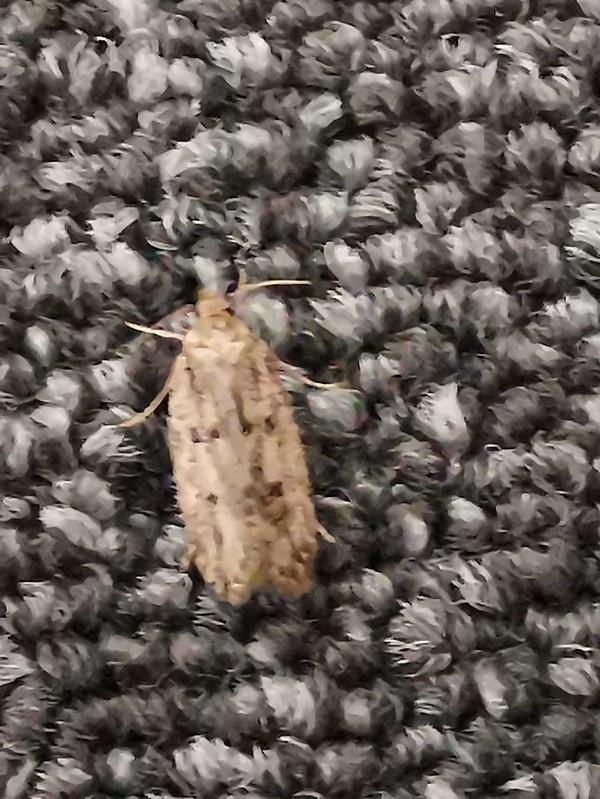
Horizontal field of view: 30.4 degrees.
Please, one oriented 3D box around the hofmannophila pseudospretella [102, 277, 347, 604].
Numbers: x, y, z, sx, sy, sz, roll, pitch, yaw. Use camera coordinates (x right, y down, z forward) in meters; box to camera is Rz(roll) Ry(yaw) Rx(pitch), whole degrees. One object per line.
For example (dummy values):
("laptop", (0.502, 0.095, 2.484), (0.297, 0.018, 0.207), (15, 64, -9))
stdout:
("hofmannophila pseudospretella", (-0.027, 0.021, 0.450), (0.116, 0.136, 0.038), (-12, 5, 7))
